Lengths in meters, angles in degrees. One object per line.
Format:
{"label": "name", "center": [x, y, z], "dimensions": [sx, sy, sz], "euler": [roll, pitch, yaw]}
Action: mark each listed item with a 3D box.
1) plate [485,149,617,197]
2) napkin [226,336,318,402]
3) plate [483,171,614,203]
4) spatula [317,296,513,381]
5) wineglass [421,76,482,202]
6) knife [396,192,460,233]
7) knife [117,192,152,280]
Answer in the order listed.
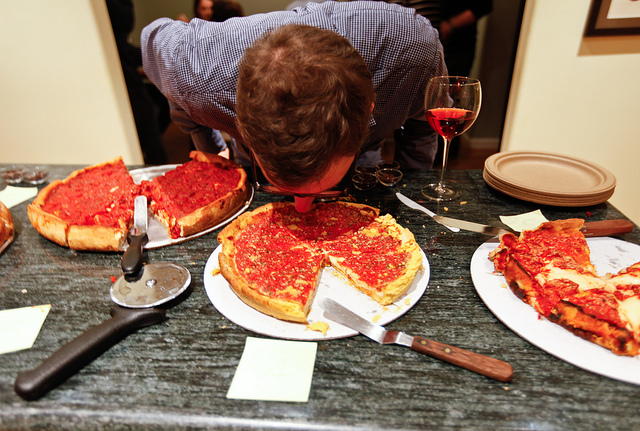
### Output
{"label": "plate", "center": [1.213, -0.190, 2.577], "dimensions": [0.609, 0.084, 0.612], "euler": [4, 26, 10]}
{"label": "napkin", "center": [-0.183, 0.600, 1.911], "dimensions": [0.312, 0.072, 0.228], "euler": [3, 40, 5]}
{"label": "plate", "center": [1.124, -0.153, 2.541], "dimensions": [0.433, 0.082, 0.487], "euler": [-6, 14, -19]}
{"label": "spatula", "center": [0.346, 0.497, 1.965], "dimensions": [0.800, 0.100, 0.091], "euler": [14, 42, 18]}
{"label": "wineglass", "center": [0.674, -0.420, 2.595], "dimensions": [0.312, 0.696, 0.306], "euler": [-19, 30, -32]}
{"label": "knife", "center": [0.517, -0.010, 2.485], "dimensions": [0.098, 0.026, 0.552], "euler": [-25, 37, -11]}
{"label": "knife", "center": [-0.848, 0.076, 2.301], "dimensions": [0.089, 0.055, 0.590], "euler": [-3, 30, -8]}
